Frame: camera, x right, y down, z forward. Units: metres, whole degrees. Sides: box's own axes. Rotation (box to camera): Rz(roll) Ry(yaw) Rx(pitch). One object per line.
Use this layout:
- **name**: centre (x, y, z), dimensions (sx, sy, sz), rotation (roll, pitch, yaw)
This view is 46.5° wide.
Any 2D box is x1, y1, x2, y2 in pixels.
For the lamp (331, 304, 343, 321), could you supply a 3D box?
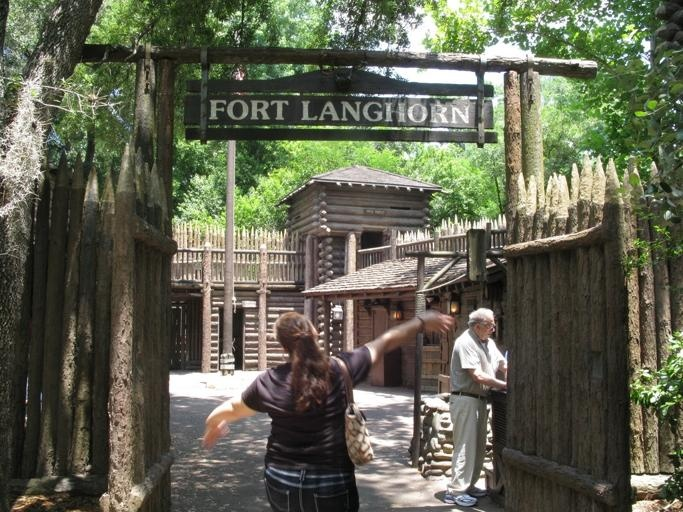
- **lamp**: centre (-0.113, 1.693, 24.175), dimensions (0.355, 0.517, 0.428), rotation (-1, 4, -3)

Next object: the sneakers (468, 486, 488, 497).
- **sneakers**: centre (1.676, 2.912, 9.777), dimensions (0.300, 0.143, 0.124), rotation (-2, 0, -7)

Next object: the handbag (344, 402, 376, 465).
- **handbag**: centre (0.135, 1.362, 6.082), dimensions (0.201, 0.482, 0.232), rotation (0, -6, 1)

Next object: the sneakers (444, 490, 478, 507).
- **sneakers**: centre (1.427, 2.892, 9.454), dimensions (0.375, 0.190, 0.154), rotation (-4, -3, 21)
